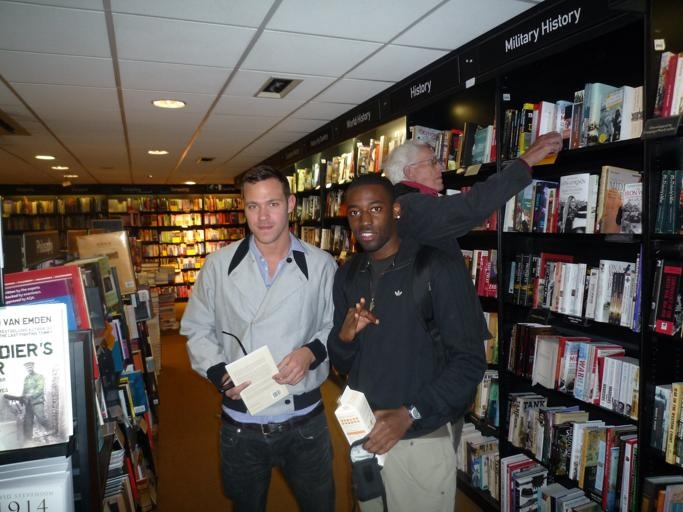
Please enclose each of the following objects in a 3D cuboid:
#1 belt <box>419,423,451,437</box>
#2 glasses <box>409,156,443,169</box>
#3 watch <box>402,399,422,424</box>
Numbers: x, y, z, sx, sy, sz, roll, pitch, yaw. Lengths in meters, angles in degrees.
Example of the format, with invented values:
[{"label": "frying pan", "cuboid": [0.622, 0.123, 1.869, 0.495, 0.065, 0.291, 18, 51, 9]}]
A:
[{"label": "belt", "cuboid": [0.439, 0.789, 2.171, 0.108, 0.066, 0.081, -5, -4, -22]}, {"label": "glasses", "cuboid": [0.542, -0.590, 2.979, 0.199, 0.060, 0.203, -1, 1, 8]}, {"label": "watch", "cuboid": [0.312, 0.684, 2.027, 0.054, 0.066, 0.054, -7, 3, -19]}]
